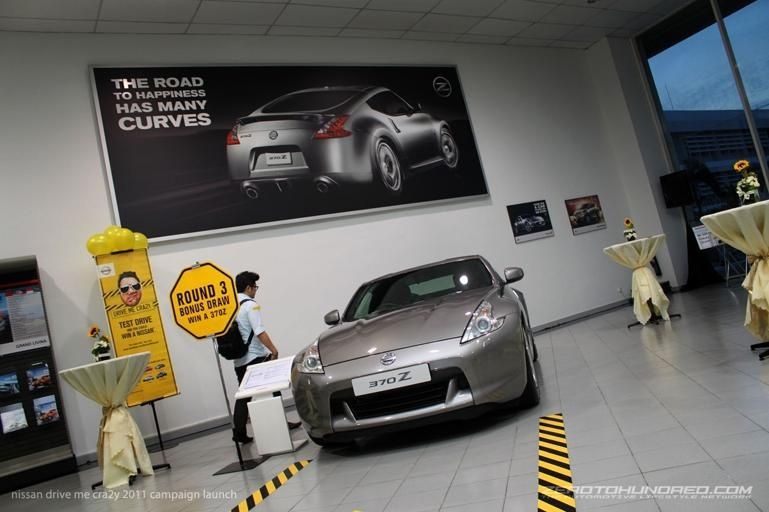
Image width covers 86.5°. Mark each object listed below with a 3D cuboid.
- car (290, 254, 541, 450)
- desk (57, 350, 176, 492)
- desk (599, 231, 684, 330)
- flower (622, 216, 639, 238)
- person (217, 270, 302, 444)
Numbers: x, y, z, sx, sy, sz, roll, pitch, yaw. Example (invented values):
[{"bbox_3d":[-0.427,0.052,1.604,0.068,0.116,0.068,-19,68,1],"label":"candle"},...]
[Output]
[{"bbox_3d":[0.483,0.755,4.216,1.370,0.943,2.371,-24,-10,11],"label":"car"},{"bbox_3d":[-2.602,1.613,4.061,0.685,0.970,0.786,-34,-19,0],"label":"desk"},{"bbox_3d":[3.850,0.349,6.111,0.857,1.119,0.852,-11,-5,-3],"label":"desk"},{"bbox_3d":[4.586,-0.533,7.589,0.238,0.444,0.107,-10,-16,27],"label":"flower"},{"bbox_3d":[-1.496,1.140,4.766,0.939,1.885,0.716,-5,-1,-27],"label":"person"}]
